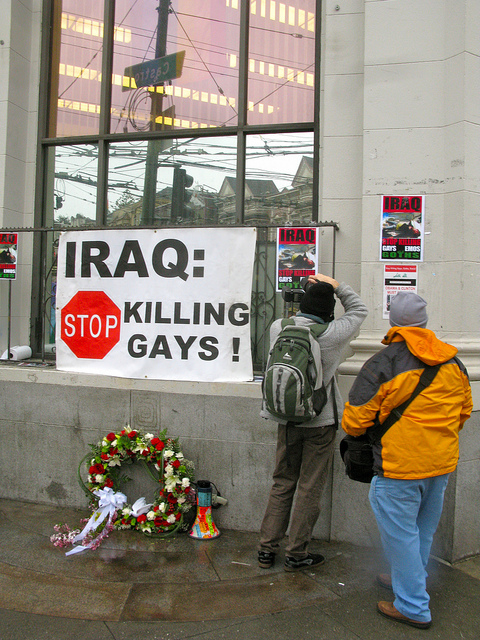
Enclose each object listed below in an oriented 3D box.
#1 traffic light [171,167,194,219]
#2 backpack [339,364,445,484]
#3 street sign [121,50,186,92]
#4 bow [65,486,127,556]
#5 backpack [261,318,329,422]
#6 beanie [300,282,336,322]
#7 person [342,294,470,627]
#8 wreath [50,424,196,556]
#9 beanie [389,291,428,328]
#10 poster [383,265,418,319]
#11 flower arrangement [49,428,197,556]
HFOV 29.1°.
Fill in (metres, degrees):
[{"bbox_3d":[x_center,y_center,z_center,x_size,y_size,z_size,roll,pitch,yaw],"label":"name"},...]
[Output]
[{"bbox_3d":[-0.557,-1.230,8.918,0.223,0.490,0.041,0,1,22],"label":"traffic light"},{"bbox_3d":[1.090,0.777,6.483,0.756,0.646,0.473,-5,-4,19],"label":"backpack"},{"bbox_3d":[-0.848,-2.444,9.086,0.728,0.273,0.016,-8,-15,25],"label":"street sign"},{"bbox_3d":[-1.137,1.578,7.429,0.332,0.407,0.710,0,0,5],"label":"bow"},{"bbox_3d":[0.412,0.372,6.643,0.477,0.698,0.303,0,1,-2],"label":"backpack"},{"bbox_3d":[0.573,-0.137,6.864,0.247,0.291,0.201,0,1,-4],"label":"beanie"},{"bbox_3d":[1.120,0.928,6.263,0.840,2.216,0.386,0,1,12],"label":"person"},{"bbox_3d":[-0.894,1.377,7.451,1.059,0.945,0.330,6,-18,3],"label":"wreath"},{"bbox_3d":[1.142,-0.069,6.302,0.271,0.217,0.240,6,6,33],"label":"beanie"},{"bbox_3d":[1.277,-0.221,7.482,0.317,0.465,0.039,1,4,-22],"label":"poster"},{"bbox_3d":[-0.901,1.384,7.613,1.021,0.953,0.298,-9,-10,16],"label":"flower arrangement"}]
